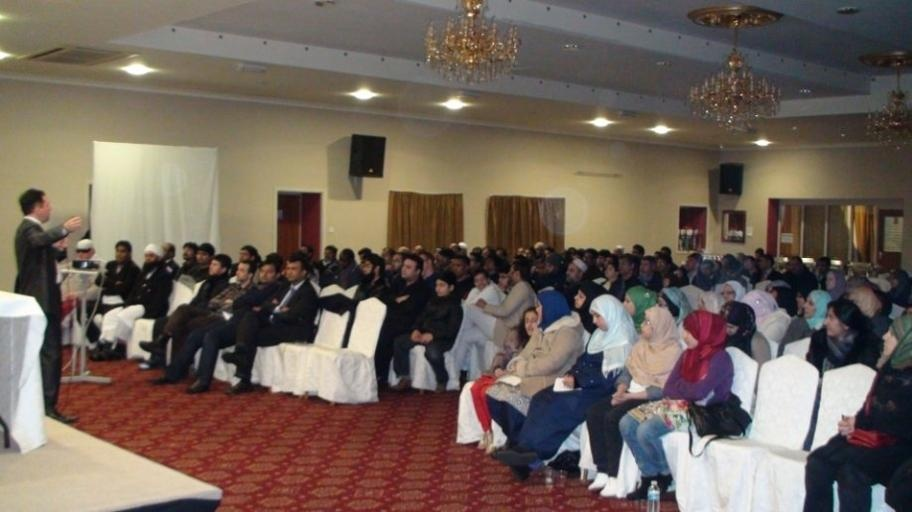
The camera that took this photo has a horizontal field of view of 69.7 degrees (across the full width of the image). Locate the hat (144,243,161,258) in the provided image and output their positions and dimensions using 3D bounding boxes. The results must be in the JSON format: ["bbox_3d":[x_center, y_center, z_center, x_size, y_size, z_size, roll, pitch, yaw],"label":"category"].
[{"bbox_3d":[-5.120,-0.092,11.067,0.263,0.203,0.259,1,4,-3],"label":"hat"}]

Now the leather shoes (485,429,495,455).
[{"bbox_3d":[0.391,2.149,7.561,0.086,0.279,0.113,-3,-6,23],"label":"leather shoes"}]

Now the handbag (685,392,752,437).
[{"bbox_3d":[2.610,1.548,6.473,0.407,0.158,0.406,-6,6,-42],"label":"handbag"}]

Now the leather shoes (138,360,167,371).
[{"bbox_3d":[-4.710,1.711,10.196,0.429,0.174,0.156,5,-2,-19],"label":"leather shoes"}]

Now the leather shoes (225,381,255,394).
[{"bbox_3d":[-3.033,1.868,9.233,0.367,0.250,0.140,6,-7,-28],"label":"leather shoes"}]

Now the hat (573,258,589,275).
[{"bbox_3d":[2.218,0.199,11.728,0.266,0.198,0.218,22,31,25],"label":"hat"}]

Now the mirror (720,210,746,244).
[{"bbox_3d":[8.629,-0.908,20.352,0.096,1.401,1.032,-5,5,-44],"label":"mirror"}]

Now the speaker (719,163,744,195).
[{"bbox_3d":[8.406,-2.366,20.044,0.707,0.977,0.253,1,2,-15],"label":"speaker"}]

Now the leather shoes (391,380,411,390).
[{"bbox_3d":[-0.789,1.879,9.502,0.311,0.120,0.121,3,-3,-32],"label":"leather shoes"}]
